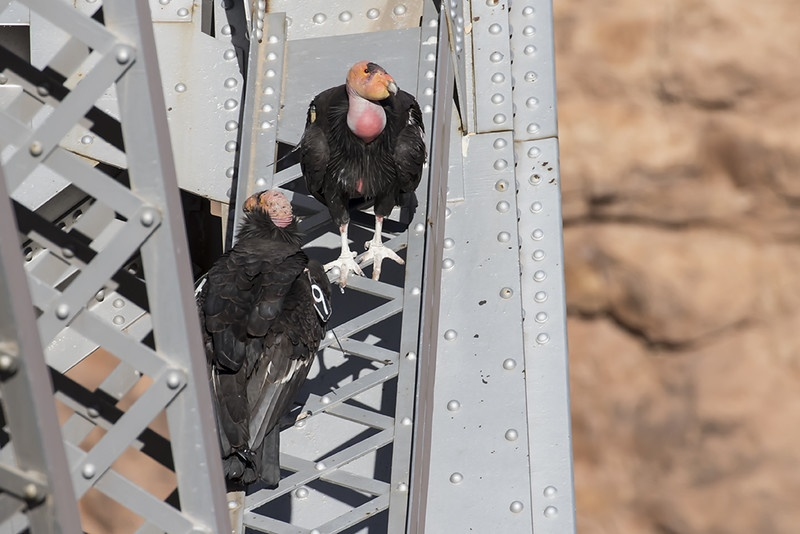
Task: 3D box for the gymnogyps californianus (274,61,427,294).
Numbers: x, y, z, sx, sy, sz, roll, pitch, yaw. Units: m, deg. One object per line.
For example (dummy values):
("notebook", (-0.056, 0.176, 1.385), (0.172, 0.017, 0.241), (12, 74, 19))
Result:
("gymnogyps californianus", (-0.193, -0.577, 8.085), (0.668, 0.614, 1.092), (2, -80, 11))
